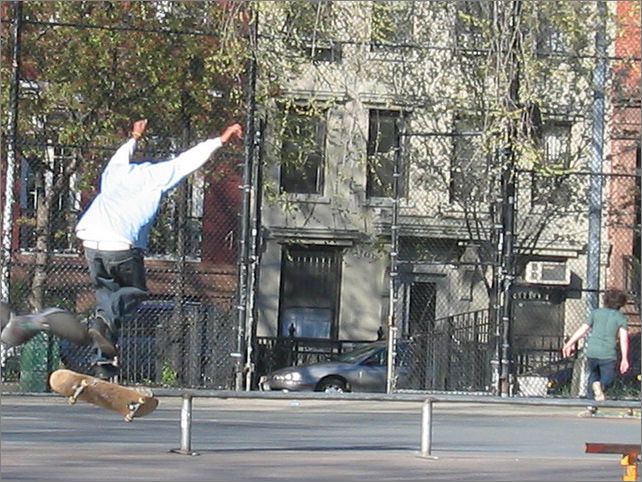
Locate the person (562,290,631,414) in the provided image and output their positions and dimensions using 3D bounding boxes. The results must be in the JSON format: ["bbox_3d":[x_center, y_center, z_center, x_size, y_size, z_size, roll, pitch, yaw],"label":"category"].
[{"bbox_3d":[4.893,1.956,30.912,0.929,2.319,1.071,-6,15,-39],"label":"person"}]

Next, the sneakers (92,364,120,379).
[{"bbox_3d":[-3.266,2.016,26.746,0.289,0.236,0.238,-22,-18,31],"label":"sneakers"}]

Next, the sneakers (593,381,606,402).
[{"bbox_3d":[4.820,2.661,30.515,0.136,0.369,0.159,-14,-23,29],"label":"sneakers"}]

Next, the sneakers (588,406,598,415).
[{"bbox_3d":[4.726,2.959,30.559,0.118,0.047,0.125,-3,21,13],"label":"sneakers"}]

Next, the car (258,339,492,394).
[{"bbox_3d":[0.673,2.449,34.002,3.668,1.041,1.396,2,-4,-2],"label":"car"}]
